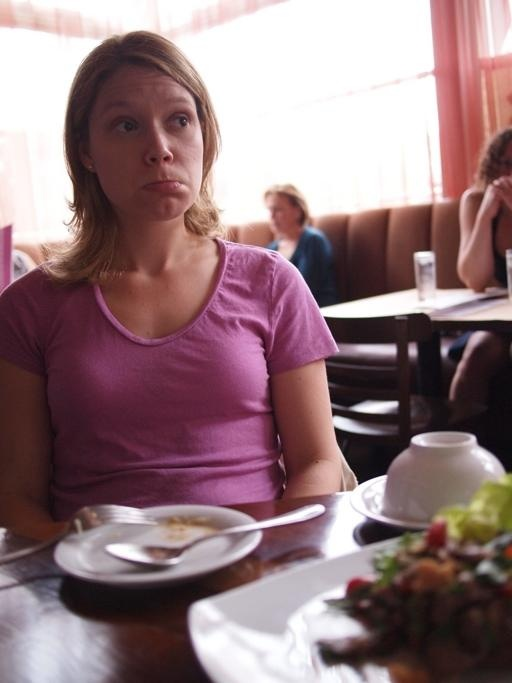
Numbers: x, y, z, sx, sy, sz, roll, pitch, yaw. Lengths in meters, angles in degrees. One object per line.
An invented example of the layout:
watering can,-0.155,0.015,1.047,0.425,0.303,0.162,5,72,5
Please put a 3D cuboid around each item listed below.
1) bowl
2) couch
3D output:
bowl,0.167,0.106,0.529,0.084,0.050,0.083,-1,3,0
couch,0.804,-0.361,4.126,1.245,1.404,1.154,-17,13,-42
